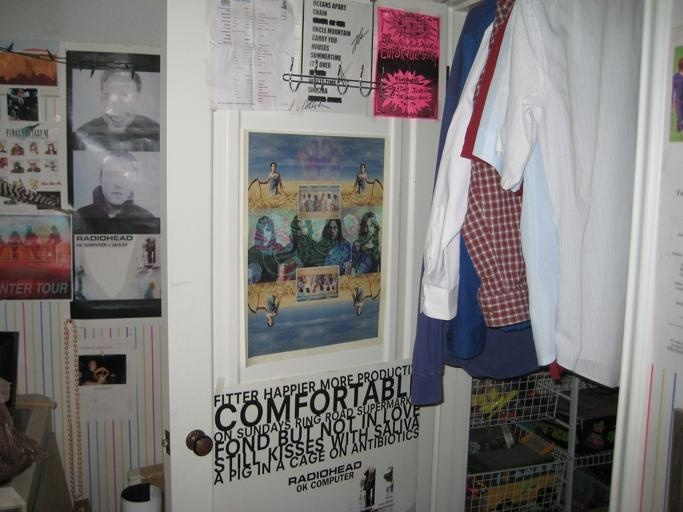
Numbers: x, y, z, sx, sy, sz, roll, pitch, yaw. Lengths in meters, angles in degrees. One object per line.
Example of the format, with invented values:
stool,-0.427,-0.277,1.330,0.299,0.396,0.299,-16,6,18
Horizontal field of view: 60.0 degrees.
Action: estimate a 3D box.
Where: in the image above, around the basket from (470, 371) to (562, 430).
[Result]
basket,0.797,0.665,2.731,0.484,0.194,0.319,3,-8,-27
